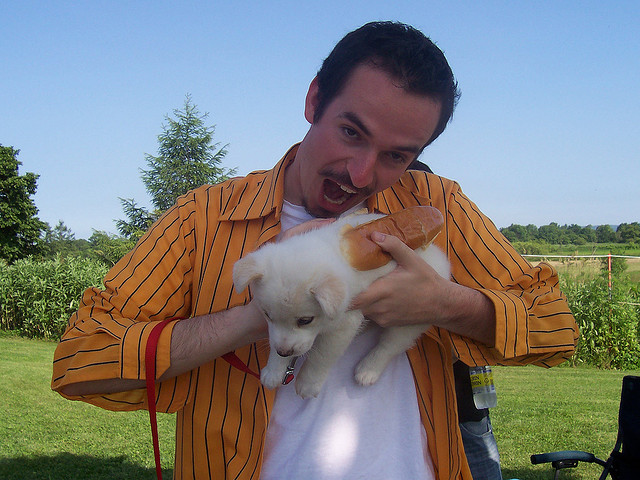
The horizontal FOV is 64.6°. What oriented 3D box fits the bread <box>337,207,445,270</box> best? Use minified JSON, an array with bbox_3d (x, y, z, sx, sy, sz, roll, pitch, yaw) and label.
[{"bbox_3d":[0.524,-0.060,3.660,0.689,0.405,0.243,-31,-23,-13],"label":"bread"}]
